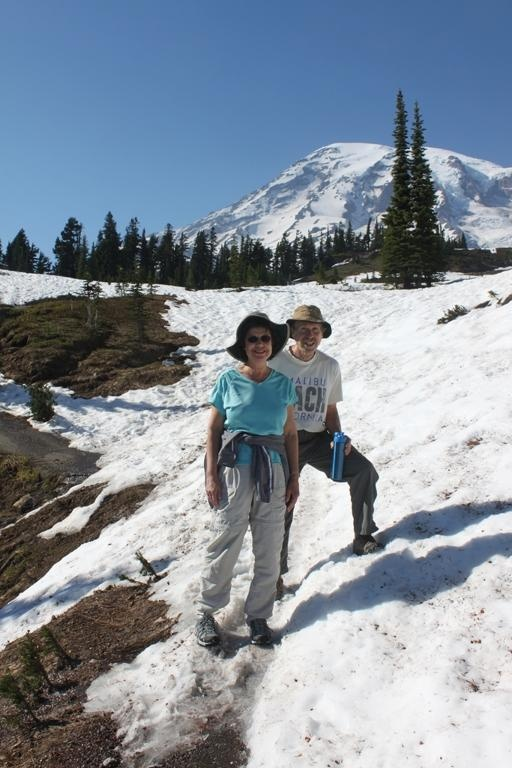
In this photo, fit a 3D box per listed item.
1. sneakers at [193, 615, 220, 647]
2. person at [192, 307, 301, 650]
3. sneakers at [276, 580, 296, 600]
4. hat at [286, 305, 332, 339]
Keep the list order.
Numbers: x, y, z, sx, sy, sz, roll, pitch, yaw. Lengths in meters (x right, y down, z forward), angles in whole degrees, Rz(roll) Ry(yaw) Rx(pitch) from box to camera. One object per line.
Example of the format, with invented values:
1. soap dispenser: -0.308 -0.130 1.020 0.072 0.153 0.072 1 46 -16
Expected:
1. sneakers: -0.371 1.853 4.729 0.150 0.223 0.100 5 12 28
2. person: -0.091 0.717 4.817 0.829 2.463 0.630 -3 8 2
3. sneakers: 0.256 1.846 5.692 0.141 0.079 0.201 5 -4 -7
4. hat: 0.474 -0.576 5.556 0.301 0.195 0.360 8 -31 5
